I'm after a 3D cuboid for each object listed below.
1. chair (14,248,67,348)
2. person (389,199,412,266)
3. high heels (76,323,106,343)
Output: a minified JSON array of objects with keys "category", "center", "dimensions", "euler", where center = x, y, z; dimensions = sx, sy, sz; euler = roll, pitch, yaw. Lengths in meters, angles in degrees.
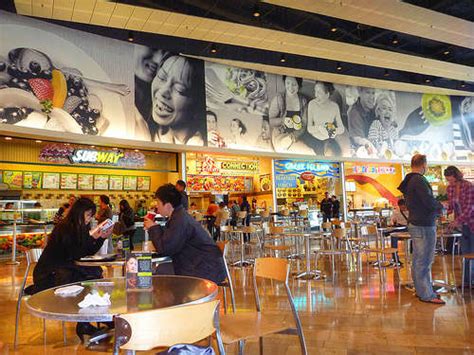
[{"category":"chair","center":[-2.550,1.447,4.451],"dimensions":[0.497,0.928,0.536],"euler":[15,-20,-22]},{"category":"person","center":[3.531,1.169,7.693],"dimensions":[0.414,1.333,0.452],"euler":[5,-1,-6]},{"category":"high heels","center":[-1.669,1.819,4.113],"dimensions":[0.420,0.242,0.150],"euler":[-4,-5,-2]}]
